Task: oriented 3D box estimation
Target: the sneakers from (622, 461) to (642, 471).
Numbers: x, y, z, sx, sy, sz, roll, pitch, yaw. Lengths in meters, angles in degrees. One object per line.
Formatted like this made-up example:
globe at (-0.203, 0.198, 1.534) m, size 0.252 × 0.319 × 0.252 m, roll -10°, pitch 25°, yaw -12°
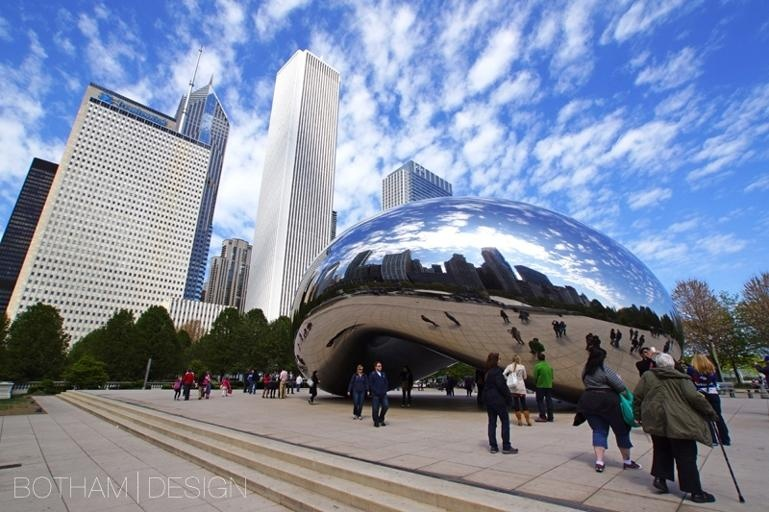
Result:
sneakers at (4.161, 3.513, 6.160) m, size 0.266 × 0.120 × 0.127 m, roll 0°, pitch -12°, yaw -3°

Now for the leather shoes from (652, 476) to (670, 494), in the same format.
leather shoes at (4.039, 3.357, 5.377) m, size 0.116 × 0.138 × 0.316 m, roll 0°, pitch -30°, yaw 41°

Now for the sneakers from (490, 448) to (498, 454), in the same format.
sneakers at (2.087, 3.684, 6.954) m, size 0.124 × 0.135 × 0.090 m, roll 2°, pitch -16°, yaw 5°

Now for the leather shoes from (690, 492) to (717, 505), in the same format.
leather shoes at (4.433, 3.370, 5.139) m, size 0.319 × 0.136 × 0.143 m, roll -4°, pitch -20°, yaw 8°

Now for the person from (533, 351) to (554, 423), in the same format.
person at (4.394, 3.557, 10.037) m, size 0.528 × 1.797 × 0.999 m, roll -7°, pitch -19°, yaw 23°

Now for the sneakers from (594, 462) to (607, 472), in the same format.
sneakers at (3.555, 3.468, 6.071) m, size 0.156 × 0.155 × 0.234 m, roll -9°, pitch -20°, yaw 24°

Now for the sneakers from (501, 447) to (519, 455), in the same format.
sneakers at (2.374, 3.639, 6.913) m, size 0.282 × 0.113 × 0.134 m, roll -2°, pitch 22°, yaw 9°

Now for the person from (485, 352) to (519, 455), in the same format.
person at (2.286, 2.875, 7.314) m, size 0.545 × 1.829 × 0.992 m, roll -5°, pitch -18°, yaw 16°

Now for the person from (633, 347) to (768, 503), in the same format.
person at (4.309, 2.496, 5.468) m, size 0.948 × 2.012 × 0.363 m, roll -11°, pitch -20°, yaw 31°

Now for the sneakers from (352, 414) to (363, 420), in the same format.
sneakers at (-0.738, 4.722, 10.799) m, size 0.269 × 0.110 × 0.416 m, roll 1°, pitch -19°, yaw -3°
